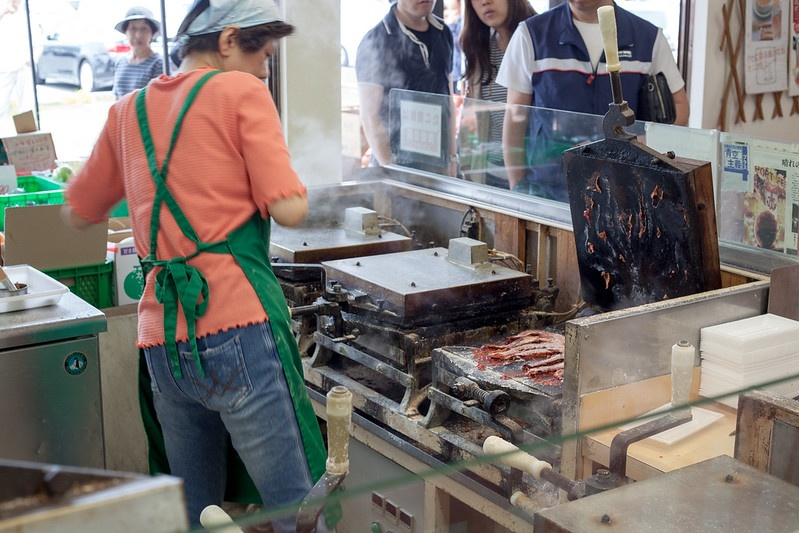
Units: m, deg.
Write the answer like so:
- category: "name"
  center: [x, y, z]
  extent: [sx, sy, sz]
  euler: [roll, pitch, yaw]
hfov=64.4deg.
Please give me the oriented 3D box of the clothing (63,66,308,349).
- category: "clothing"
  center: [-0.616, -0.179, 1.910]
  extent: [0.795, 0.766, 0.303]
  euler: [-3, 2, 19]
